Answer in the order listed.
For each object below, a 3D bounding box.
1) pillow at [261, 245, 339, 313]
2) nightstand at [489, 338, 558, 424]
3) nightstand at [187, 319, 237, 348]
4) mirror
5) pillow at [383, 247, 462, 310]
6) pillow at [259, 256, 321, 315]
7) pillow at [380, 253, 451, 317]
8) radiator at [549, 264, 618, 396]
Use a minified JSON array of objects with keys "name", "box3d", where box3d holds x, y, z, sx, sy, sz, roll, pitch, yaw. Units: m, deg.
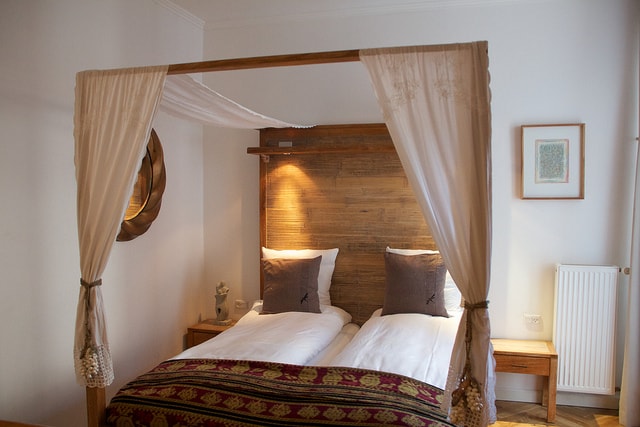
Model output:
[{"name":"pillow","box3d":[-0.185,0.709,4.756,0.681,0.570,0.245,-1,-16,13]},{"name":"nightstand","box3d":[1.929,1.605,4.648,0.878,0.762,0.651,0,-1,16]},{"name":"nightstand","box3d":[-1.173,1.264,5.013,0.381,0.378,0.383,2,4,26]},{"name":"mirror","box3d":[-1.745,-0.284,4.533,0.177,1.116,0.726,-1,2,16]},{"name":"pillow","box3d":[0.962,0.633,4.256,0.652,0.578,0.187,-2,-13,12]},{"name":"pillow","box3d":[-0.277,0.751,4.674,0.563,0.469,0.203,-3,-25,6]},{"name":"pillow","box3d":[0.944,0.704,4.401,0.710,0.634,0.257,-3,-20,21]},{"name":"radiator","box3d":[2.637,1.140,4.452,0.133,1.206,0.600,17,-16,-27]}]
